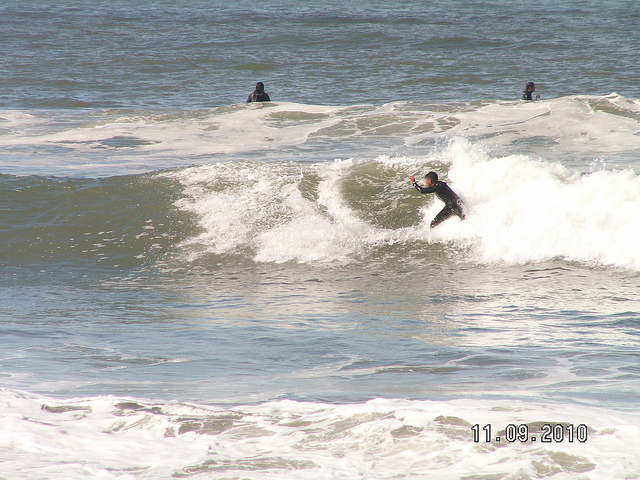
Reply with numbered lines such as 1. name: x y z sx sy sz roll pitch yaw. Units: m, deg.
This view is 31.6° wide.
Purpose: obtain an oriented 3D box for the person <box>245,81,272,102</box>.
1. person: -1.852 -4.388 33.486 0.661 0.674 0.499 -11 30 -7
